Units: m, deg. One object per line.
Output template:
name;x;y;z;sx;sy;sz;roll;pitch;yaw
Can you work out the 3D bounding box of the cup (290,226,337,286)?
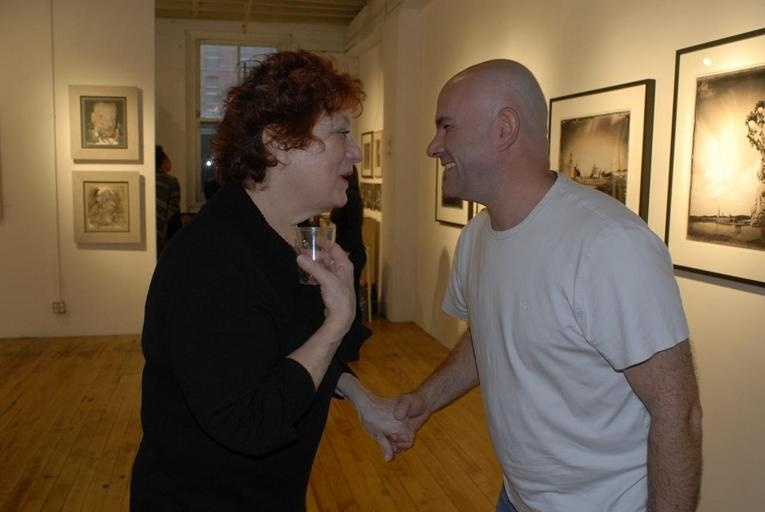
cup;-0.284;-0.014;2.465;0.168;0.299;0.179;2;16;-1
